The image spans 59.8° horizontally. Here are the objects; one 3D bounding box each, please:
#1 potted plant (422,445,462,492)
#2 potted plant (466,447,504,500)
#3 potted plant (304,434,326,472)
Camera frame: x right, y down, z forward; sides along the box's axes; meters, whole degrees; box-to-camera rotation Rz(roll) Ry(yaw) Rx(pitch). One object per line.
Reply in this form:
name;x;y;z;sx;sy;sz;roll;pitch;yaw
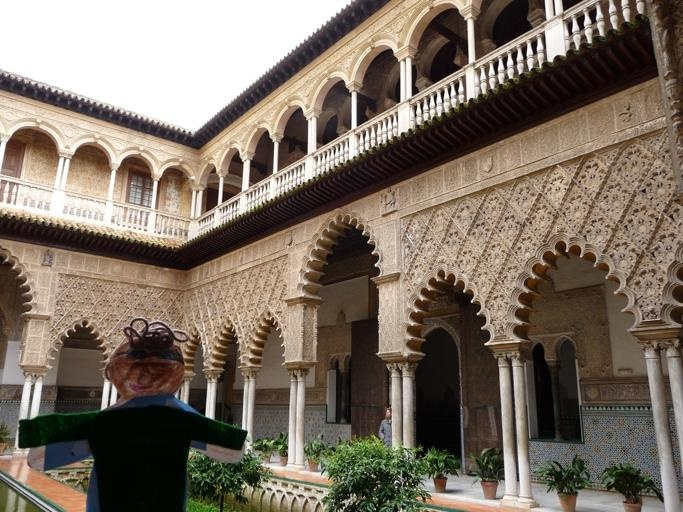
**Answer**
potted plant;1.351;2.916;7.994;0.439;0.503;0.466;8;-18;-42
potted plant;1.914;2.802;7.678;0.321;0.627;0.481;-8;-22;24
potted plant;-0.453;3.329;9.927;0.395;0.506;0.453;4;-22;-5
